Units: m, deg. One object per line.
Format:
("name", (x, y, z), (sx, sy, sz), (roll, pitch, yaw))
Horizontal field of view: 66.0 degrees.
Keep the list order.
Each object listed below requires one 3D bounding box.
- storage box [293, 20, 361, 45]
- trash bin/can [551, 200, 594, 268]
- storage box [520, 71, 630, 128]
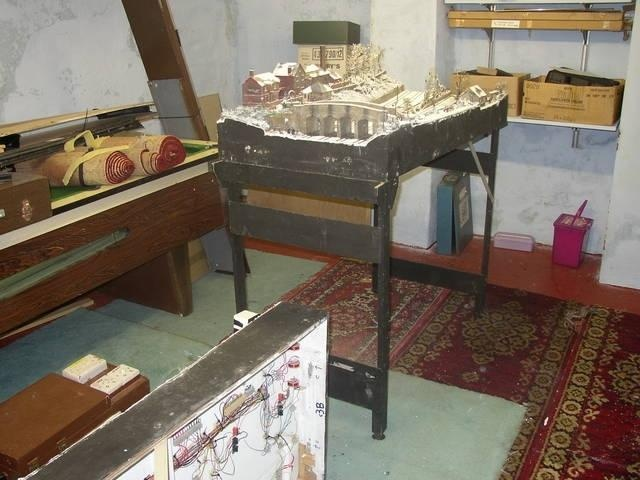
("storage box", (0.013, -1.890, 4.493), (0.571, 0.191, 0.156), (11, 28, 24))
("trash bin/can", (2.202, -0.044, 4.321), (0.270, 0.489, 0.296), (13, 29, 29))
("storage box", (2.022, -1.153, 3.945), (0.724, 0.388, 0.332), (12, 28, 26))
